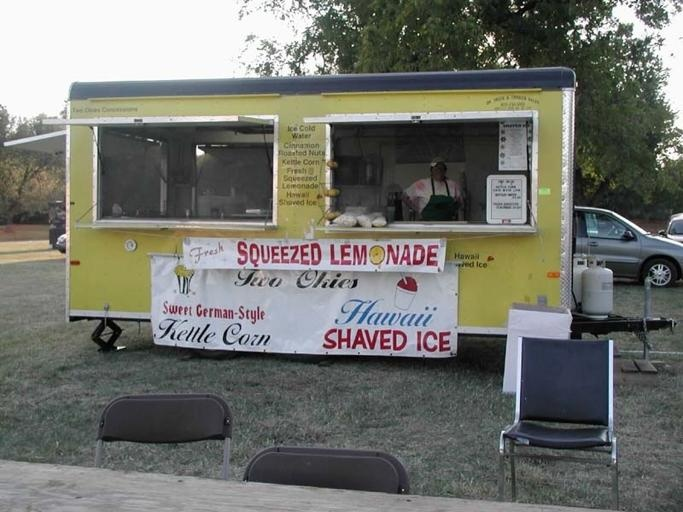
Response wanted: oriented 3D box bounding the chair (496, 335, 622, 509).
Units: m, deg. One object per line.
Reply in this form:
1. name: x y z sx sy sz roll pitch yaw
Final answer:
1. chair: 1.781 1.258 6.724 0.934 1.164 1.204 3 10 12

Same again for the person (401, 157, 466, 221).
1. person: 1.154 -0.859 10.781 0.701 1.302 0.427 0 -13 1
